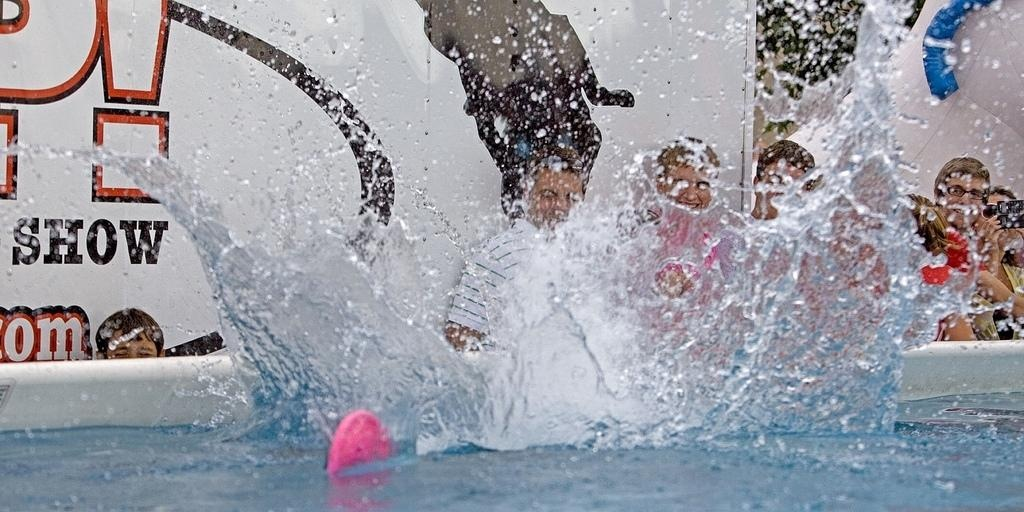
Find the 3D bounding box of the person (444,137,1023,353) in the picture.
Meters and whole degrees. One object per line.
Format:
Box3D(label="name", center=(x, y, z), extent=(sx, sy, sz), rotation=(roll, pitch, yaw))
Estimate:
Box3D(label="person", center=(1.352, -0.101, 7.163), extent=(3.503, 1.346, 0.662), rotation=(-2, -6, -7))
